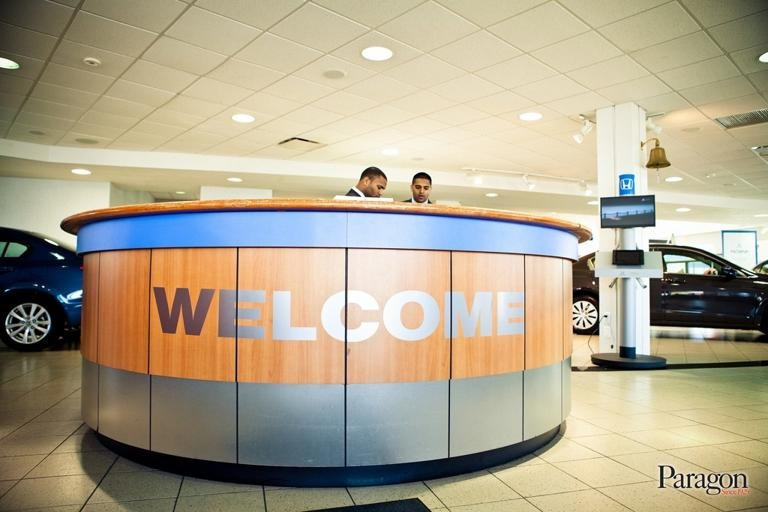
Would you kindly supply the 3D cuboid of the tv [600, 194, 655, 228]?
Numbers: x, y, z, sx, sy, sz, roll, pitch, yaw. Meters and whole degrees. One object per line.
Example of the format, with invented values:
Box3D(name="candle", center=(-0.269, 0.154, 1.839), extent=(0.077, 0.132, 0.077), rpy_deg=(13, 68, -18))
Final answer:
Box3D(name="tv", center=(3.282, -0.574, 6.912), extent=(0.036, 0.433, 0.764), rpy_deg=(-4, 4, -33))
